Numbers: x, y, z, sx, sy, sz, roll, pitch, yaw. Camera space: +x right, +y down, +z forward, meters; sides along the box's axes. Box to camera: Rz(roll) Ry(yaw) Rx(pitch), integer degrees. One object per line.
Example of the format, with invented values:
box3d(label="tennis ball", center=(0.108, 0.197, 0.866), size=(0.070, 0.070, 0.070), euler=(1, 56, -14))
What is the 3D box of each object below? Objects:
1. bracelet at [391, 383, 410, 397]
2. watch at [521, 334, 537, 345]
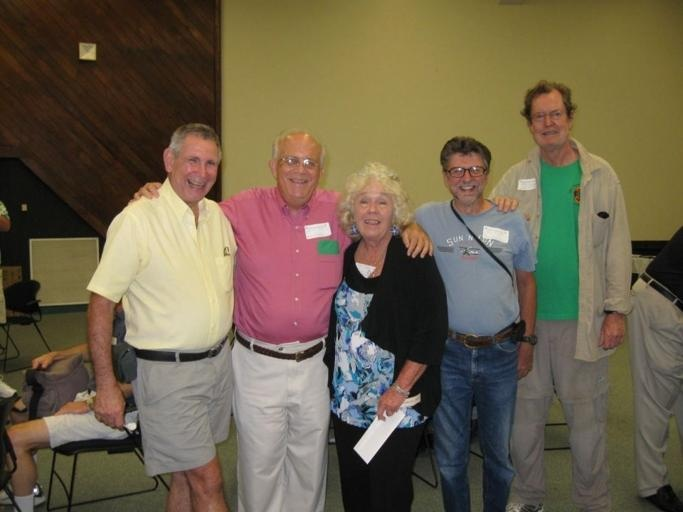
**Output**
box3d(label="bracelet", center=(0.352, 0.811, 3.516), size=(0.085, 0.032, 0.078), euler=(35, -1, 24))
box3d(label="watch", center=(1.275, 0.577, 3.975), size=(0.108, 0.072, 0.112), euler=(1, -6, -5))
